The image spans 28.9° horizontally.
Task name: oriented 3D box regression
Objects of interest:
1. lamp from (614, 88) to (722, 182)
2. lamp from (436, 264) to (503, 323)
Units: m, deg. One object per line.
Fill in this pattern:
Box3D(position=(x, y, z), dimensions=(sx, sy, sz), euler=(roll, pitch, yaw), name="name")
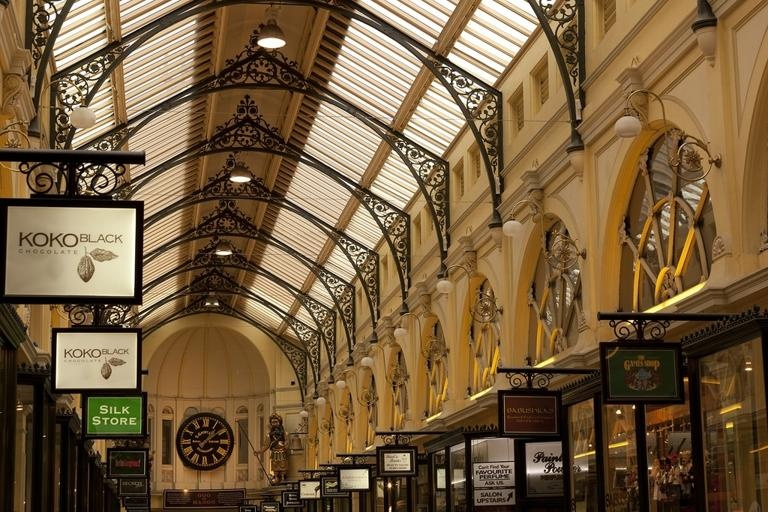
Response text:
Box3D(position=(5.450, -2.254, 28.400), dimensions=(1.972, 1.988, 0.492), euler=(2, -23, 4), name="lamp")
Box3D(position=(2.227, 0.998, 38.200), dimensions=(1.122, 1.458, 1.760), euler=(-3, -14, -12), name="lamp")
